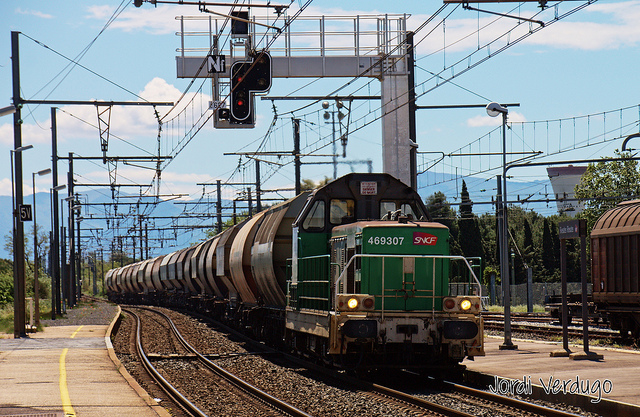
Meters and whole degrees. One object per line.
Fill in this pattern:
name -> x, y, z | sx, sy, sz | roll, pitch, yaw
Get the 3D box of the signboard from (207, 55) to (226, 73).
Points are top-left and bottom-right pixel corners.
signboard -> -4.793, -6.743, 41.949 | 0.778, 1.021, 0.987 | -2, -7, -5

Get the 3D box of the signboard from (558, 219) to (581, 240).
signboard -> 9.050, 0.748, 33.100 | 0.459, 0.656, 1.343 | -1, -7, -15
